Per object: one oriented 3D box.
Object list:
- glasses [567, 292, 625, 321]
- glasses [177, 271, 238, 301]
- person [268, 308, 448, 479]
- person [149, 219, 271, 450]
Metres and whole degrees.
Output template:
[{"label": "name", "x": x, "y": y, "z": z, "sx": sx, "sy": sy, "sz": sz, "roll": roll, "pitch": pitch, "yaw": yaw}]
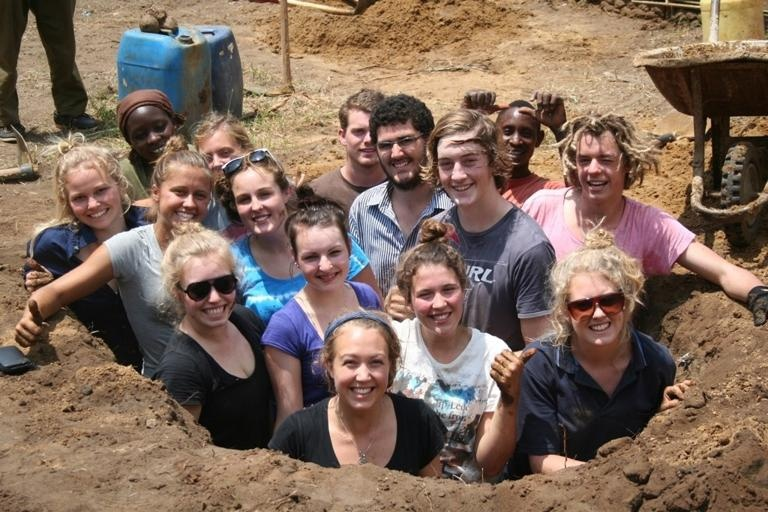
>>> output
[{"label": "glasses", "x": 1.648, "y": 0.386, "z": 6.986, "sx": 0.425, "sy": 0.190, "sz": 0.100, "roll": -1, "pitch": 17, "yaw": 0}, {"label": "glasses", "x": -1.415, "y": 0.255, "z": 7.225, "sx": 0.441, "sy": 0.176, "sz": 0.140, "roll": -7, "pitch": 17, "yaw": -17}, {"label": "person", "x": -0.207, "y": 1.118, "z": 7.026, "sx": 1.432, "sy": 1.300, "sz": 0.808, "roll": 0, "pitch": 2, "yaw": -1}, {"label": "person", "x": -1.410, "y": 0.704, "z": 7.316, "sx": 0.853, "sy": 1.686, "sz": 0.718, "roll": -6, "pitch": 17, "yaw": -15}]
